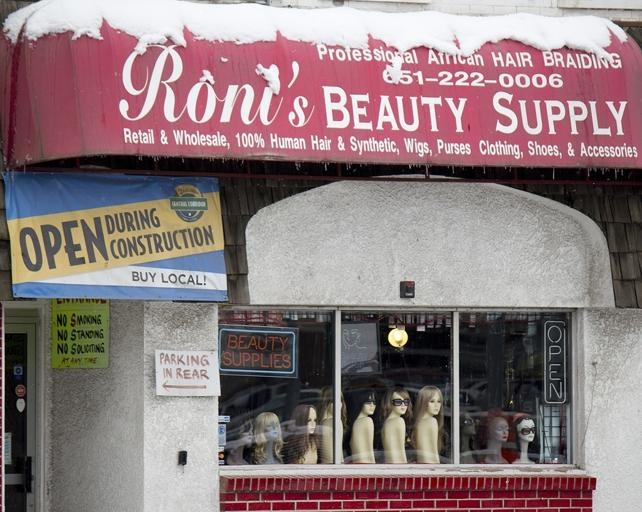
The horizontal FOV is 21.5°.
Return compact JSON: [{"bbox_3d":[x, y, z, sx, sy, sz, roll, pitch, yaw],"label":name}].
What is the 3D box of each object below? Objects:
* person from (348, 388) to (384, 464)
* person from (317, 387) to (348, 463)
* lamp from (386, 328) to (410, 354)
[{"bbox_3d":[0.481,1.906,18.981,0.298,0.778,0.141,1,-11,-13],"label":"person"},{"bbox_3d":[0.132,1.880,18.902,0.324,0.838,0.176,-1,-11,0],"label":"person"},{"bbox_3d":[0.874,0.945,19.036,0.226,0.240,0.060,-16,8,-11],"label":"lamp"}]
